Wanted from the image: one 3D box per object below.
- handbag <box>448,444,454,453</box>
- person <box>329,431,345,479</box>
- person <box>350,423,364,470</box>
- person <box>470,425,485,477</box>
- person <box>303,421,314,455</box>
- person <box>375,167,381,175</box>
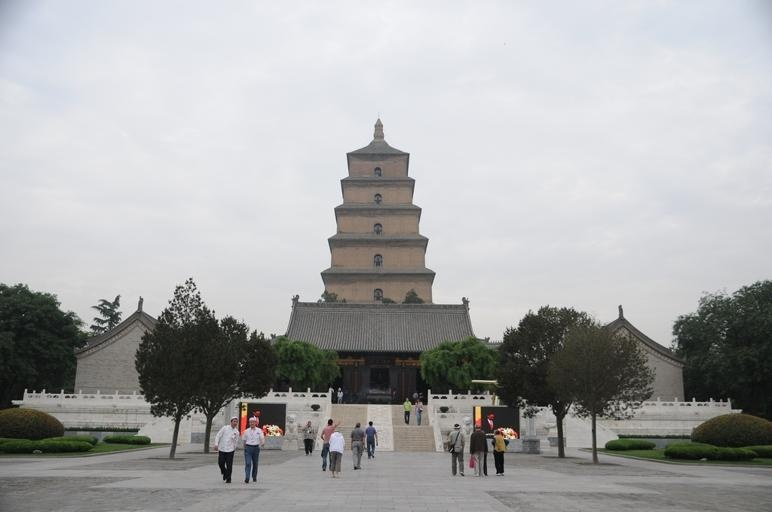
[{"bbox_3d":[2.630,7.803,25.754,0.181,0.270,0.439,0,-15,0],"label":"handbag"},{"bbox_3d":[-1.988,7.757,25.116,0.516,1.694,1.441,1,-15,-5],"label":"person"},{"bbox_3d":[-1.201,8.092,27.138,0.447,1.895,0.957,0,-15,-2],"label":"person"},{"bbox_3d":[3.711,7.914,25.750,0.564,1.833,0.912,-2,-15,7],"label":"person"},{"bbox_3d":[-4.082,9.626,33.688,0.407,1.704,1.170,3,-15,-11],"label":"person"},{"bbox_3d":[-0.896,-9.044,68.090,0.670,0.945,0.503,0,-16,-1],"label":"person"}]
